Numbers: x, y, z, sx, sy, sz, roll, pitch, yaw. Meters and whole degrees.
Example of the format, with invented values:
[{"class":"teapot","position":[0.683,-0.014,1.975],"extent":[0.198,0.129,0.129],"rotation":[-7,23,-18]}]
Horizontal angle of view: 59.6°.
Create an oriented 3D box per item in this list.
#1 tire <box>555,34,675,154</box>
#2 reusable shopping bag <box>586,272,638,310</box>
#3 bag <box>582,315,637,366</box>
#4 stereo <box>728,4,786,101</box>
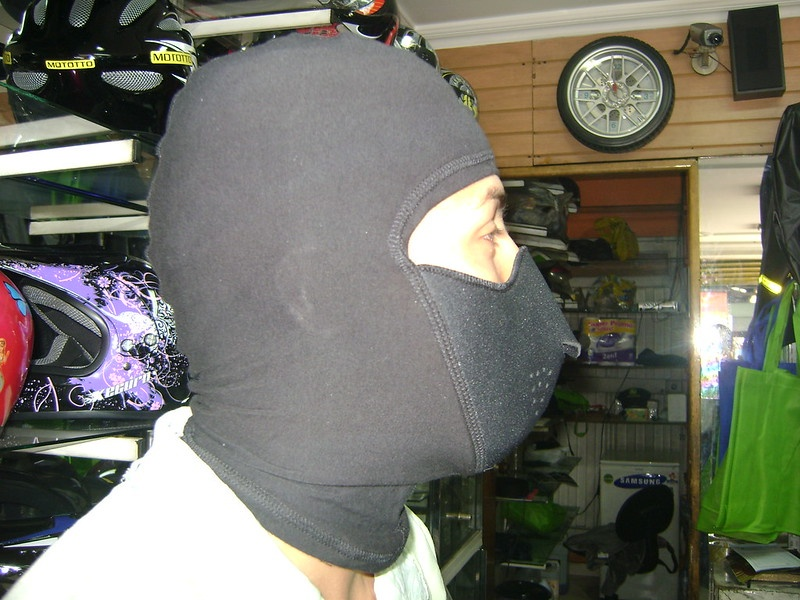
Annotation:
[{"class":"tire","position":[1.031,-1.093,3.338],"extent":[0.593,0.164,0.597],"rotation":[-4,-45,20]},{"class":"reusable shopping bag","position":[1.241,-0.068,4.119],"extent":[0.193,0.188,0.243],"rotation":[5,8,-25]},{"class":"bag","position":[1.210,0.221,4.048],"extent":[0.285,0.265,0.280],"rotation":[1,1,-40]},{"class":"stereo","position":[1.656,-1.155,3.252],"extent":[0.253,0.323,0.135],"rotation":[3,2,23]}]
